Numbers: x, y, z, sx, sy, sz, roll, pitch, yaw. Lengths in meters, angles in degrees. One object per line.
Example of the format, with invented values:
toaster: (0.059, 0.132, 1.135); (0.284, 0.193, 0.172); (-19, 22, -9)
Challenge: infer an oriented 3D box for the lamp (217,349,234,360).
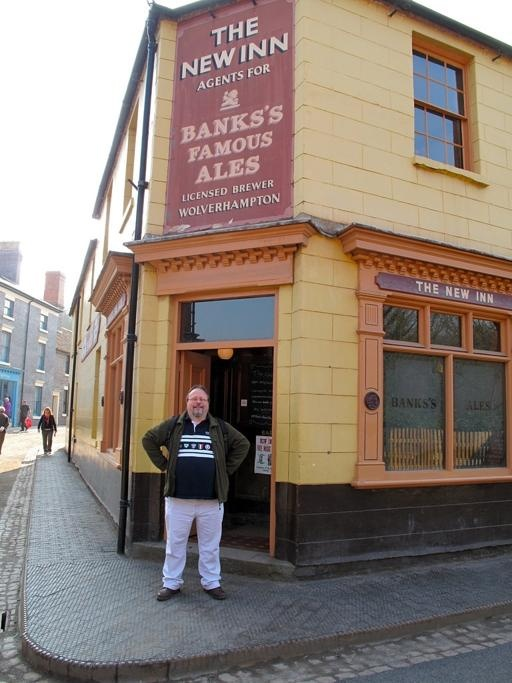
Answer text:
lamp: (-0.430, 0.180, 7.530); (0.201, 0.149, 0.205); (0, -9, -7)

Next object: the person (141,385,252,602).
person: (-0.523, 1.282, 4.574); (0.901, 1.747, 0.373); (4, -9, -12)

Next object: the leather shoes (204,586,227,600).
leather shoes: (-0.320, 2.112, 4.428); (0.066, 0.069, 0.168); (4, -9, -39)
